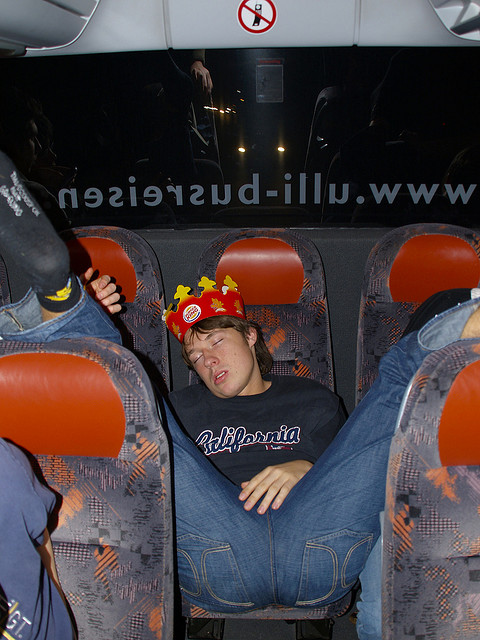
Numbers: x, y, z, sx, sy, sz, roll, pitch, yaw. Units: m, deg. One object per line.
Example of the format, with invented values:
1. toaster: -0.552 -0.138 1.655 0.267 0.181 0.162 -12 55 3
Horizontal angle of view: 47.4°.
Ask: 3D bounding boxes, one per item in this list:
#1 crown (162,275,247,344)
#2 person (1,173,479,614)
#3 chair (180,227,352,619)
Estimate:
1. crown: -0.123 -0.012 1.583 0.200 0.188 0.113 -19 -80 54
2. person: 0.048 -0.021 1.436 0.567 1.345 0.773 0 -64 0
3. chair: 0.051 0.247 1.513 0.512 0.693 0.840 -4 -61 -1
